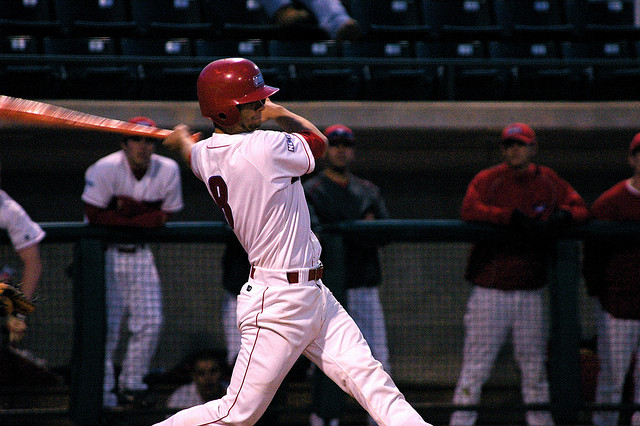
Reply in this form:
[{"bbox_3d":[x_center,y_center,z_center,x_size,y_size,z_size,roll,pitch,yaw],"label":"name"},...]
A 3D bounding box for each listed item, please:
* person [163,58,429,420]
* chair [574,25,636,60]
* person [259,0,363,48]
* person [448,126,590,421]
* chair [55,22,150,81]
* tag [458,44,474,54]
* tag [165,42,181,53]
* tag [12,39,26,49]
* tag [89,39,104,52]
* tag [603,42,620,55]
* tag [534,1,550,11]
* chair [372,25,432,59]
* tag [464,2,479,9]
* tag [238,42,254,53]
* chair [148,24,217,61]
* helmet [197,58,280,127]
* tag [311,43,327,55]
[{"bbox_3d":[-0.260,0.174,11.902,1.472,2.454,0.885,0,11,-5],"label":"person"},{"bbox_3d":[2.534,-1.524,15.103,0.528,0.276,0.456,2,9,7],"label":"chair"},{"bbox_3d":[-0.049,-1.680,15.096,0.368,0.405,1.051,-7,12,-39],"label":"person"},{"bbox_3d":[1.452,0.453,12.396,0.907,2.121,0.507,3,11,7],"label":"person"},{"bbox_3d":[-1.892,-1.400,14.644,0.778,0.433,1.537,0,9,-8],"label":"chair"},{"bbox_3d":[1.289,-1.452,15.084,0.095,0.069,0.116,0,0,1],"label":"tag"},{"bbox_3d":[-1.307,-1.467,15.075,0.115,0.063,0.101,-1,8,-8],"label":"tag"},{"bbox_3d":[-2.620,-1.464,14.706,0.120,0.087,0.028,3,3,-18],"label":"tag"},{"bbox_3d":[-1.966,-1.467,14.952,0.123,0.074,0.117,-1,-4,37],"label":"tag"},{"bbox_3d":[2.581,-1.451,15.039,0.149,0.100,0.105,0,2,-1],"label":"tag"},{"bbox_3d":[2.016,-1.871,15.412,0.125,0.081,0.090,-1,14,-3],"label":"tag"},{"bbox_3d":[0.731,-1.530,15.158,0.535,0.263,0.460,1,9,1],"label":"chair"},{"bbox_3d":[1.388,-1.892,15.500,0.082,0.044,0.074,-1,5,-19],"label":"tag"},{"bbox_3d":[-0.662,-1.466,15.128,0.126,0.096,0.023,-10,-9,7],"label":"tag"},{"bbox_3d":[-1.226,-1.495,15.009,0.658,0.341,0.315,0,-10,1],"label":"chair"},{"bbox_3d":[-0.530,-0.857,12.037,0.662,0.425,0.475,-1,16,31],"label":"helmet"},{"bbox_3d":[-0.007,-1.454,15.075,0.031,0.105,0.178,-8,13,-42],"label":"tag"}]
